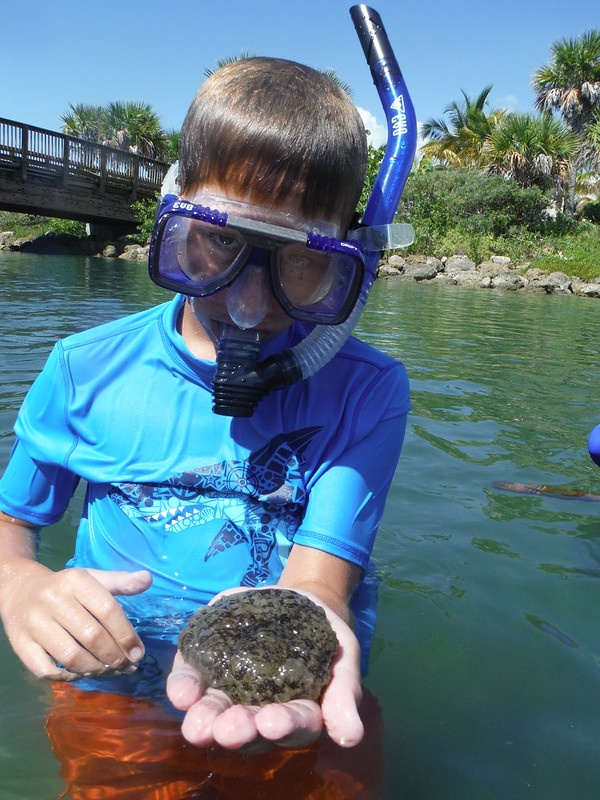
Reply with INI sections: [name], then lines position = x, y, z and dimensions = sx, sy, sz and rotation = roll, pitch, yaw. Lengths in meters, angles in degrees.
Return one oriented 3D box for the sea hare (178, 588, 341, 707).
[sea hare]
position = -0.074, 0.442, 1.259
dimensions = 0.276, 0.145, 0.208
rotation = 5, 7, -1
